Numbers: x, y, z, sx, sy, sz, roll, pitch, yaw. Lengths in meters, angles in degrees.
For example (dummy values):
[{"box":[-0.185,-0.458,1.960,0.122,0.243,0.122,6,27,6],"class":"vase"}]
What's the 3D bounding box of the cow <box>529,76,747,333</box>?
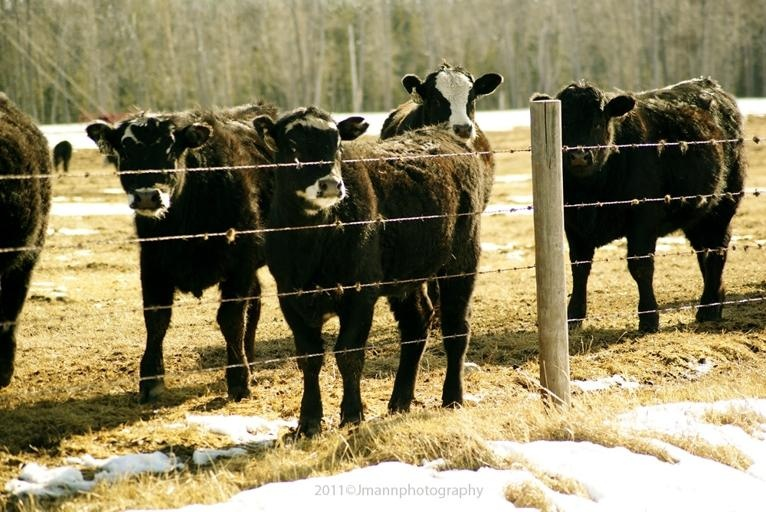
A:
[{"box":[4.897,-0.874,23.427,2.570,4.760,5.992,-1,-5,34],"class":"cow"}]
